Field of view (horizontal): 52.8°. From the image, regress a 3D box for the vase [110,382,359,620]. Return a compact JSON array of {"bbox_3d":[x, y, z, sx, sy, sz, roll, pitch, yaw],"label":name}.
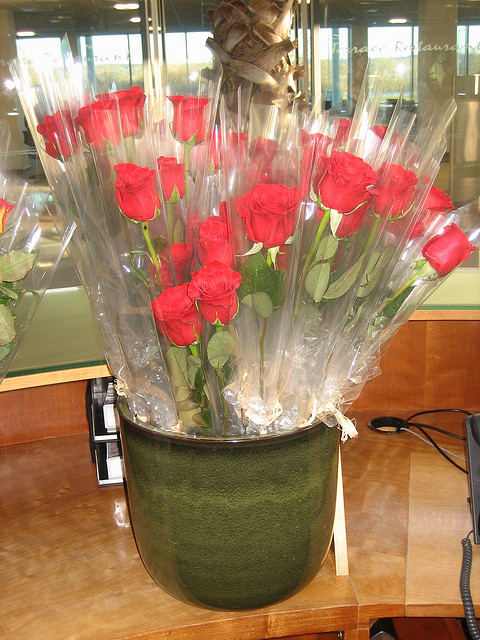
[{"bbox_3d":[-0.010,0.174,0.498,0.246,0.188,0.245,2,5,-4],"label":"vase"}]
